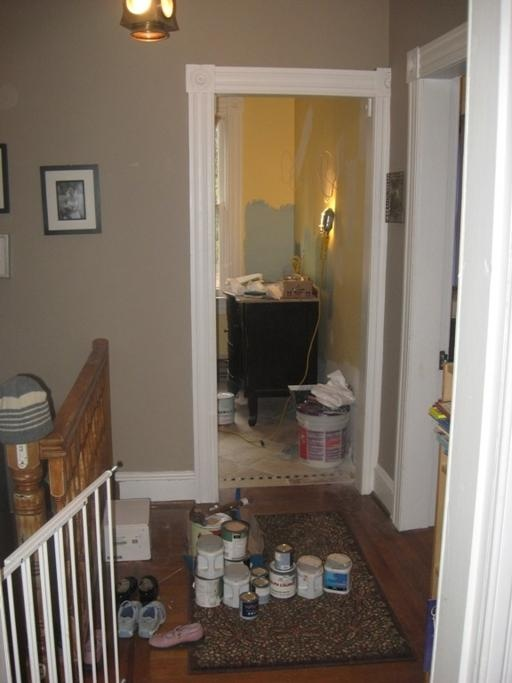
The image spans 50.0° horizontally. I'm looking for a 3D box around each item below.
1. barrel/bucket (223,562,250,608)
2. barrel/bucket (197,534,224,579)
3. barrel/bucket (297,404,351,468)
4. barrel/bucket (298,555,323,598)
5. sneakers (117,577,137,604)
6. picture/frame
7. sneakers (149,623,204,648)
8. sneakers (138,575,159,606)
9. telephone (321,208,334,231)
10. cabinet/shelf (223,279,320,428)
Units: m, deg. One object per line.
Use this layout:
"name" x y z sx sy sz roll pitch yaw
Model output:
"barrel/bucket" -0.088 1.035 2.334 0.130 0.170 0.144 3 16 8
"barrel/bucket" -0.190 0.914 2.378 0.118 0.159 0.150 0 14 -4
"barrel/bucket" 0.455 0.669 3.806 0.344 0.409 0.385 0 16 1
"barrel/bucket" 0.236 1.040 2.421 0.099 0.147 0.135 -1 10 3
"sneakers" -0.561 1.077 2.349 0.077 0.046 0.187 -1 10 -2
"picture/frame" -1.011 -0.789 2.979 0.306 0.448 0.032 -1 13 -7
"sneakers" -0.305 1.137 2.161 0.218 0.079 0.084 -4 18 -11
"sneakers" -0.472 1.078 2.376 0.042 0.060 0.136 -6 2 -5
"telephone" 0.576 -0.979 4.429 0.077 0.195 0.202 -1 9 -1
"cabinet/shelf" 0.146 -0.059 4.994 0.693 1.163 0.855 -3 28 -4
